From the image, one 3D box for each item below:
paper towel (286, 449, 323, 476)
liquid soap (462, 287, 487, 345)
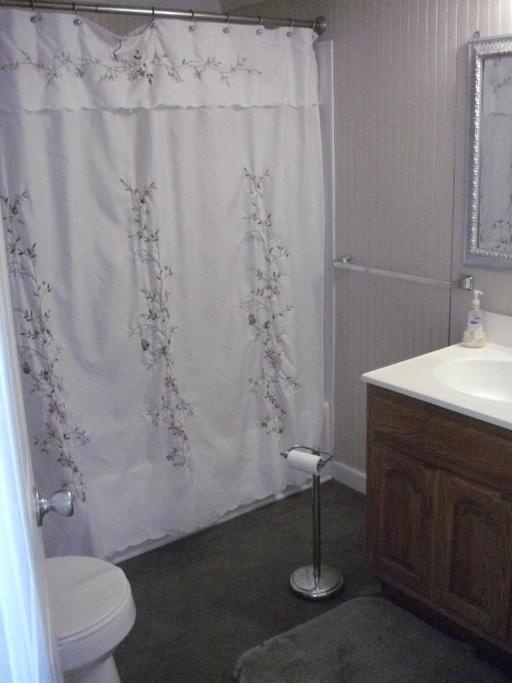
[{"bbox_3d":[0.163,0.416,2.010,0.127,0.091,0.075,6,17,32],"label":"paper towel"},{"bbox_3d":[0.767,-0.085,2.087,0.076,0.193,0.143,3,15,21],"label":"liquid soap"}]
